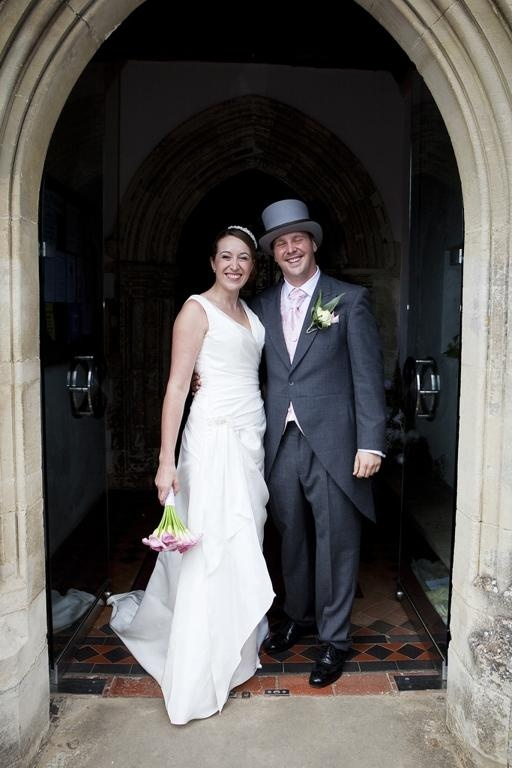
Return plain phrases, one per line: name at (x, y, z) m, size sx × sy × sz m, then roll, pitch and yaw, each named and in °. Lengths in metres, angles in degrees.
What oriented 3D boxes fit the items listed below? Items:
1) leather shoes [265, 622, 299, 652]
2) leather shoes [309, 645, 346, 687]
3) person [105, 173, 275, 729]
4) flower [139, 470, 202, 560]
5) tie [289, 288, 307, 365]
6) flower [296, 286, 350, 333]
leather shoes at (0.116, 1.130, 2.718) m, size 0.065 × 0.081 × 0.195 m, roll -2°, pitch -4°, yaw 27°
leather shoes at (0.280, 1.120, 2.443) m, size 0.067 × 0.080 × 0.196 m, roll 5°, pitch 6°, yaw 23°
person at (-0.196, 0.277, 2.427) m, size 0.582 × 1.814 × 0.709 m, roll 0°, pitch 3°, yaw -16°
flower at (-0.312, 0.489, 2.218) m, size 0.193 × 0.206 × 0.174 m, roll -3°, pitch -5°, yaw 32°
tie at (0.179, -0.237, 2.574) m, size 0.083 × 0.291 × 0.032 m, roll 0°, pitch -15°, yaw 34°
flower at (0.275, -0.284, 2.453) m, size 0.149 × 0.158 × 0.122 m, roll 1°, pitch 3°, yaw 7°
